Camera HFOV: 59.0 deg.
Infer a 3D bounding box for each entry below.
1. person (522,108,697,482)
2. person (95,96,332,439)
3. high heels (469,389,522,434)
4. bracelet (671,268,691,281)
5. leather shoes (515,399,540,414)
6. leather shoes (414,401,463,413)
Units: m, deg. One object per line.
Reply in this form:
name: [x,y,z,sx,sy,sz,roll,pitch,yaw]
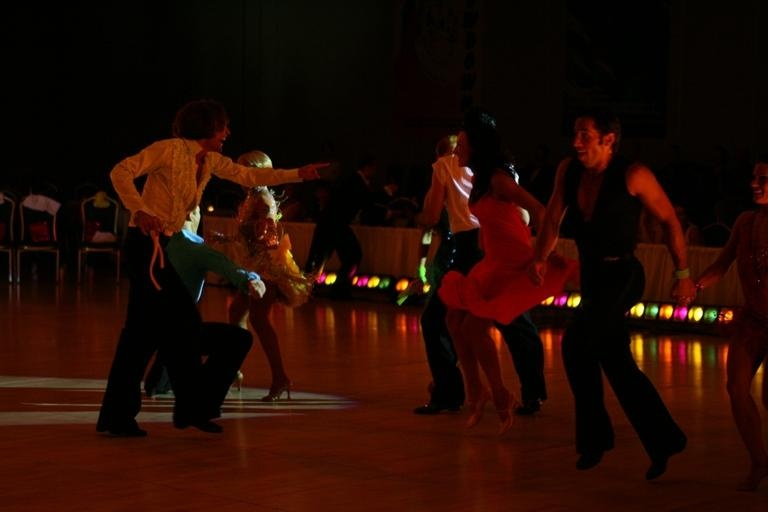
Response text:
person: [1.141,0.200,3.429,0.765,1.814,0.279,1,4,18]
person: [-1.223,0.064,4.187,1.015,2.075,0.405,-1,4,-24]
high heels: [0.684,0.948,4.333,0.201,0.456,0.165,-8,1,-11]
bracelet: [1.448,0.087,3.294,0.060,0.038,0.059,-4,0,-8]
leather shoes: [1.034,1.069,4.855,0.194,0.078,0.100,1,0,-6]
leather shoes: [0.392,1.086,4.911,0.336,0.129,0.119,4,-8,-9]
